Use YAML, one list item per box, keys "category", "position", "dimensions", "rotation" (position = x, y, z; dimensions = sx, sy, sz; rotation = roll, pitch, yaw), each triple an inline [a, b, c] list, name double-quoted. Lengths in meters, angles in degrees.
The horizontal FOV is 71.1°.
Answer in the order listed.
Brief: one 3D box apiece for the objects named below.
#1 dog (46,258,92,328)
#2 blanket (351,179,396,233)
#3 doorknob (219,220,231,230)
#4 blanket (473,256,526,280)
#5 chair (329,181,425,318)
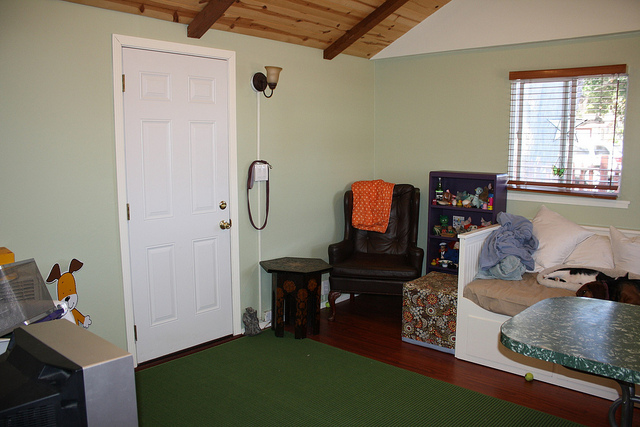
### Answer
- category: "dog"
  position: [-1.878, 0.616, 3.376]
  dimensions: [0.204, 0.544, 0.209]
  rotation: [1, 14, 6]
- category: "blanket"
  position: [0.562, -0.079, 4.911]
  dimensions: [0.474, 0.524, 0.156]
  rotation: [3, -4, -4]
- category: "doorknob"
  position: [-0.868, 0.102, 4.110]
  dimensions: [0.102, 0.086, 0.033]
  rotation: [-10, 17, -36]
- category: "blanket"
  position: [1.581, 0.488, 3.916]
  dimensions: [0.279, 0.094, 0.268]
  rotation: [0, 5, 22]
- category: "chair"
  position: [0.604, 0.389, 4.807]
  dimensions: [0.933, 1.276, 0.971]
  rotation: [1, 8, 10]
